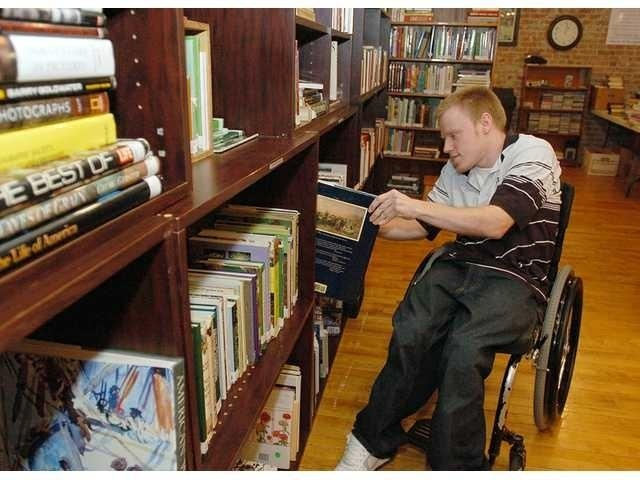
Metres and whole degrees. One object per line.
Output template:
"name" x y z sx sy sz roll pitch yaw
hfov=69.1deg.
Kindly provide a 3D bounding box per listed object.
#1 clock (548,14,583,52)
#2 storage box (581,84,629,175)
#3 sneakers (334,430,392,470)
"clock" 3.760 -3.199 7.107 0.497 0.528 0.082 -7 17 13
"storage box" 4.261 -1.682 6.938 0.363 1.068 1.132 6 23 22
"sneakers" 0.176 0.860 1.892 0.093 0.113 0.283 -34 -14 20
